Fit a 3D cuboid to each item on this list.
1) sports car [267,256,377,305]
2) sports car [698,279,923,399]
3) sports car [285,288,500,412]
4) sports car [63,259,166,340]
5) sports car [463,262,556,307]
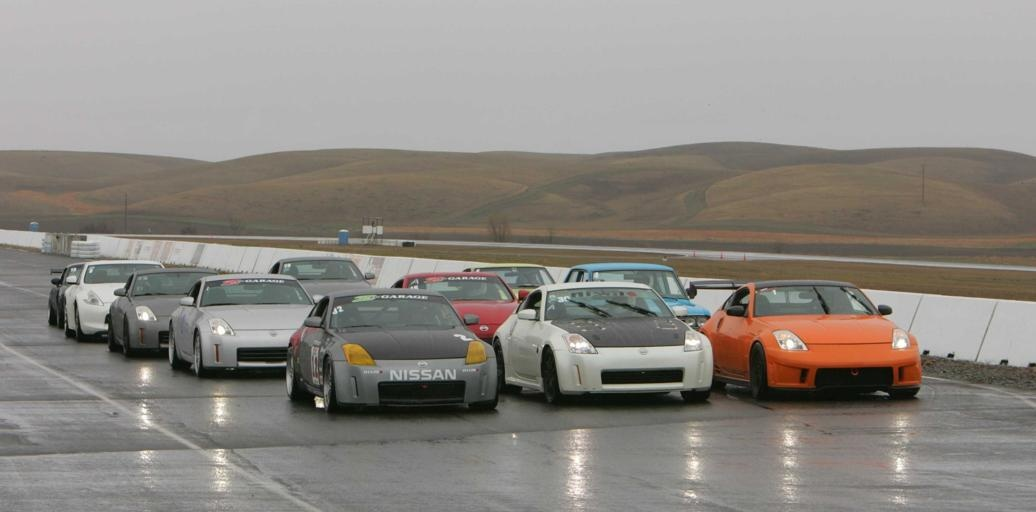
[{"bbox_3d":[-5.488,0.669,32.361,2.325,0.853,3.666,0,-1,-22],"label":"sports car"},{"bbox_3d":[6.705,1.464,27.822,4.172,1.585,5.466,-3,11,-7],"label":"sports car"},{"bbox_3d":[-2.861,1.627,26.475,4.131,1.510,5.015,-5,17,-20],"label":"sports car"},{"bbox_3d":[-11.844,0.876,35.527,3.579,1.464,4.582,-5,15,-16],"label":"sports car"},{"bbox_3d":[-0.111,0.759,33.849,2.746,1.109,3.323,-3,16,1],"label":"sports car"}]
